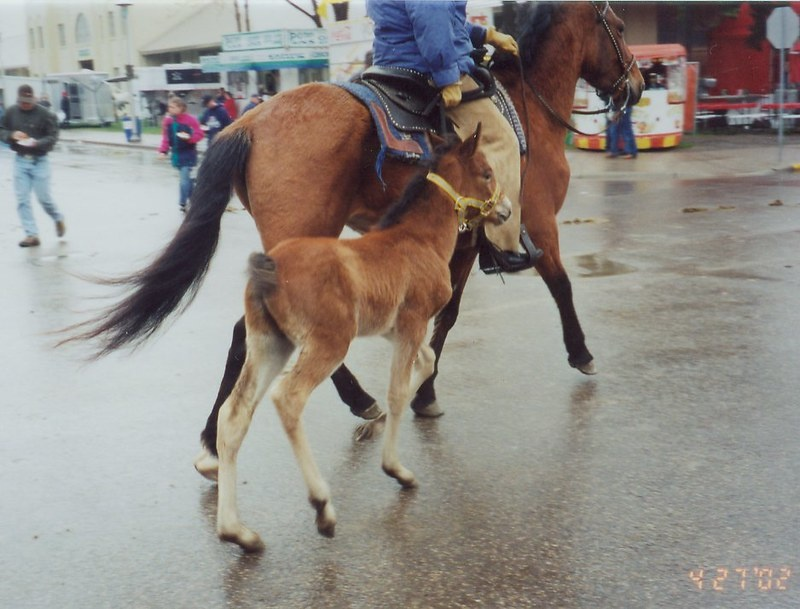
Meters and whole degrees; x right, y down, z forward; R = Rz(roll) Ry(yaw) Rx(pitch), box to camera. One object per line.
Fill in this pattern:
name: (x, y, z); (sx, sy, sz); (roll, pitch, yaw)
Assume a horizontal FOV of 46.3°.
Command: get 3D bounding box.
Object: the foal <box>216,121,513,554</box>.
foal: (-0.238, 0.114, 4.852); (1.761, 2.006, 0.464); (-13, 18, -40)
